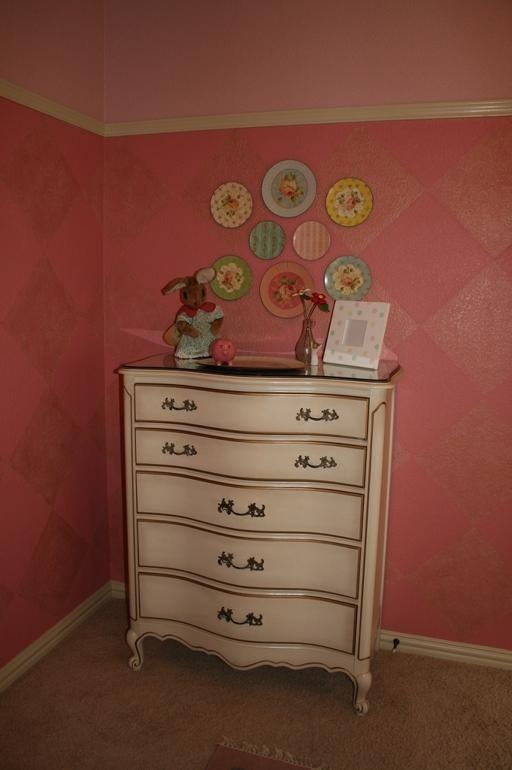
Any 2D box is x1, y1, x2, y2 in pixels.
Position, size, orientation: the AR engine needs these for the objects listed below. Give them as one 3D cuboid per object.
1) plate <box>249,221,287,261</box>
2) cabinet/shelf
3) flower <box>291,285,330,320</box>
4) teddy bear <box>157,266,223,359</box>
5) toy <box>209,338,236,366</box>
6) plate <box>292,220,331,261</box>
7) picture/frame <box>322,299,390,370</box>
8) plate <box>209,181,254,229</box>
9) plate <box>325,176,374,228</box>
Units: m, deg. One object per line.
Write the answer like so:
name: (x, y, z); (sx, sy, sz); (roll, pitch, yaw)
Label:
plate: (0.046, -0.618, 2.856); (0.166, 0.156, 0.033); (-2, 3, 20)
cabinet/shelf: (0.016, 0.523, 2.615); (1.014, 1.149, 0.567); (3, 5, 19)
flower: (0.227, -0.338, 2.721); (0.150, 0.156, 0.142); (-6, 22, -9)
teddy bear: (-0.250, -0.275, 2.608); (0.229, 0.353, 0.268); (0, 13, -5)
toy: (-0.123, -0.117, 2.539); (0.084, 0.103, 0.105); (-2, -23, -8)
plate: (0.234, -0.599, 2.809); (0.158, 0.164, 0.014); (5, 14, 16)
picture/frame: (0.391, -0.192, 2.576); (0.279, 0.309, 0.024); (11, -12, 32)
plate: (-0.095, -0.772, 2.907); (0.189, 0.186, 0.068); (35, 17, 9)
plate: (0.380, -0.743, 2.739); (0.194, 0.187, 0.065); (8, 12, 24)
